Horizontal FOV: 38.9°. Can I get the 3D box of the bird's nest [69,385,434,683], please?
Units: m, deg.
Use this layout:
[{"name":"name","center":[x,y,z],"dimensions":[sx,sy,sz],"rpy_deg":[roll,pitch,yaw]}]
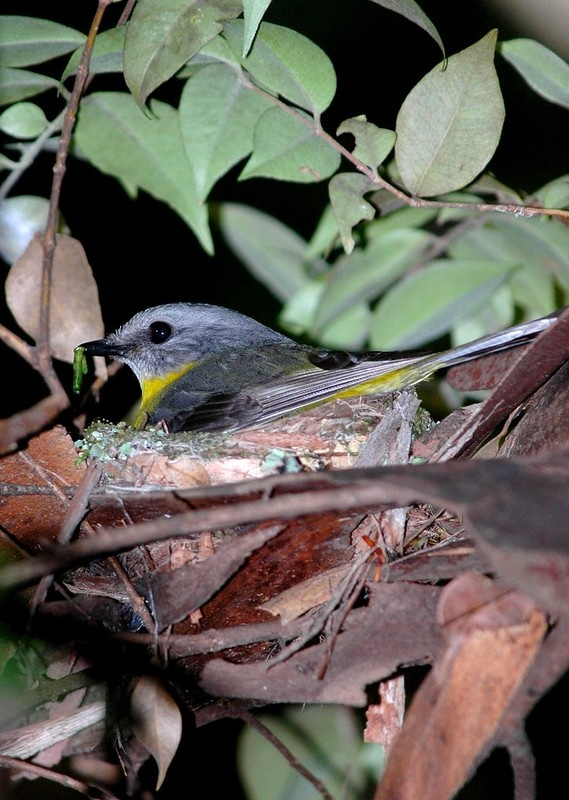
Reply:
[{"name":"bird's nest","center":[-0.012,0.285,2.051],"dimensions":[0.810,0.312,0.619],"rpy_deg":[-13,20,-27]}]
